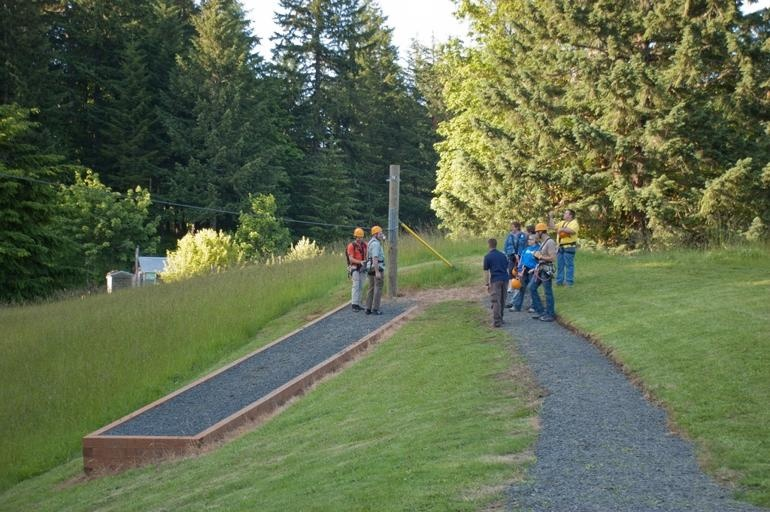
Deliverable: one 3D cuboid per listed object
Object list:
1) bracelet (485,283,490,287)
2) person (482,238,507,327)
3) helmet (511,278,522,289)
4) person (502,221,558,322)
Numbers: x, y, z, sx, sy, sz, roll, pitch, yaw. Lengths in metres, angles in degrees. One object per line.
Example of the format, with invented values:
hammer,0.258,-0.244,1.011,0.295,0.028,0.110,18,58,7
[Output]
bracelet,3.882,1.049,31.710,0.267,0.096,0.271,-2,3,14
person,4.128,0.925,30.671,0.855,3.205,0.981,-2,1,8
helmet,4.948,0.999,31.525,0.303,0.363,0.399,28,6,-8
person,5.675,0.559,31.004,0.856,3.575,1.551,-2,1,-25
